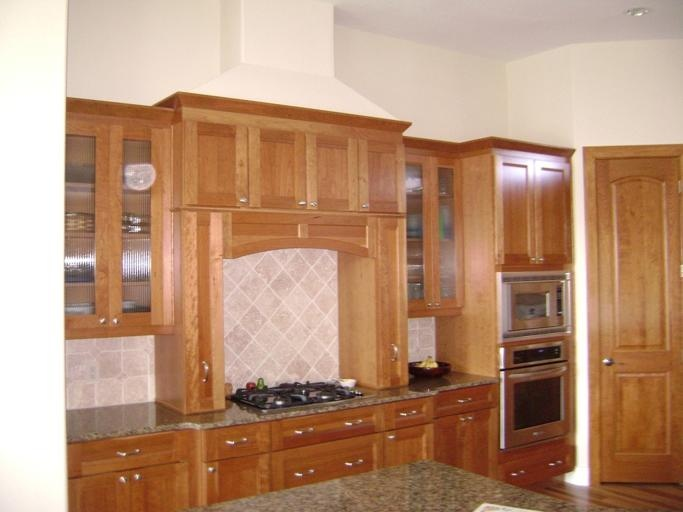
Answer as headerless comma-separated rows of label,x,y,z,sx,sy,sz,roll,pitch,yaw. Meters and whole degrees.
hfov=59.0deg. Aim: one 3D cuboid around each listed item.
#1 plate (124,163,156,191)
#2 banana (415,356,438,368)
plate,-1.245,-0.488,3.729,0.203,0.158,0.043,0,3,-32
banana,0.692,0.851,4.835,0.114,0.044,0.111,-4,-6,35
